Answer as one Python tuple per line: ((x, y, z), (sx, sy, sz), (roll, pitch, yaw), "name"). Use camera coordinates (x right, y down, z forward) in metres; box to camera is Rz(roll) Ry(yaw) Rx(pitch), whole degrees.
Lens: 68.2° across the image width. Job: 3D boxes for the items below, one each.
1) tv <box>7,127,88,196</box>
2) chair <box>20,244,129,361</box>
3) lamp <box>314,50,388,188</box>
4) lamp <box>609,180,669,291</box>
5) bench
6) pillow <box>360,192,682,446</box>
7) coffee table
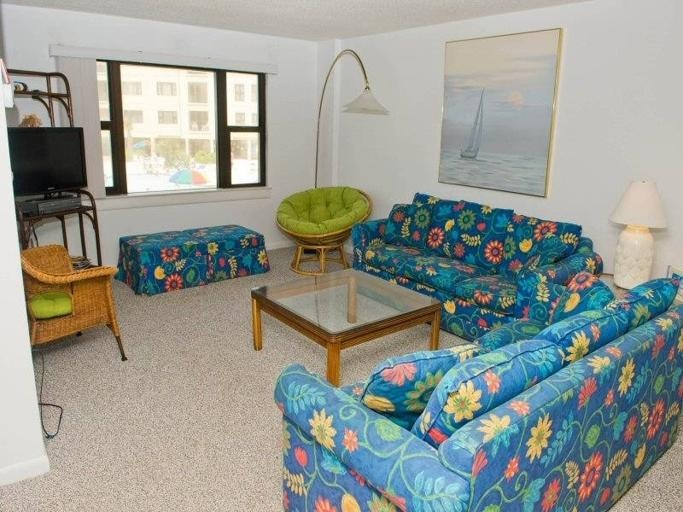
((-2.549, -0.821, 4.315), (0.086, 0.618, 0.833), (11, 14, 28), "tv")
((-1.932, 0.241, 3.801), (0.741, 0.946, 0.892), (-9, 18, -34), "chair")
((0.122, -1.532, 5.820), (0.798, 1.683, 1.580), (-1, 17, -7), "lamp")
((2.226, -0.146, 3.801), (0.360, 0.789, 0.365), (1, 11, -8), "lamp")
((-1.552, 0.069, 5.326), (1.239, 0.400, 0.718), (-11, 22, -36), "bench")
((0.973, 0.206, 3.472), (1.433, 0.545, 1.626), (-10, 21, -27), "pillow")
((-0.065, 0.355, 3.763), (0.930, 0.418, 0.933), (-12, 24, -34), "coffee table")
